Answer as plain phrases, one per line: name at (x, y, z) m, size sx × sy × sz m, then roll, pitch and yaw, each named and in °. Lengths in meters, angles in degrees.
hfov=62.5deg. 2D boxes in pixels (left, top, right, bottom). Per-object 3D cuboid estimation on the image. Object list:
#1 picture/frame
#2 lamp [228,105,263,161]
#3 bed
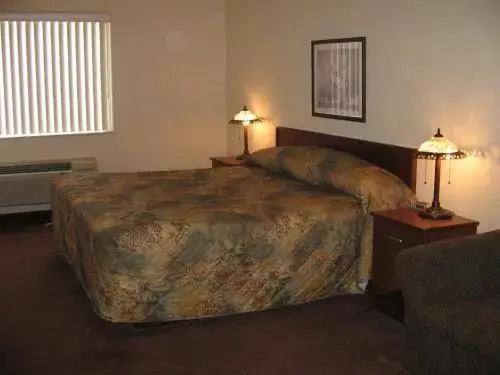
picture/frame at (0.973, -1.167, 4.376) m, size 0.035 × 1.032 × 0.928 m, roll -5°, pitch 9°, yaw -36°
lamp at (-0.059, -0.756, 5.766) m, size 0.454 × 0.711 × 0.494 m, roll 4°, pitch 10°, yaw 33°
bed at (-0.152, 0.317, 3.403) m, size 1.960 × 0.897 × 2.128 m, roll -3°, pitch 16°, yaw -22°
